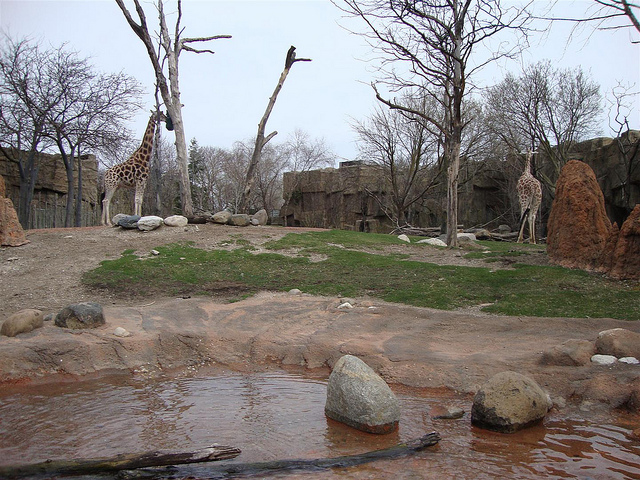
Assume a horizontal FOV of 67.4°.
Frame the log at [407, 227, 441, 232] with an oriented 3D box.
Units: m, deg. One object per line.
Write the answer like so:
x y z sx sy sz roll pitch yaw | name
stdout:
5.828 -0.569 26.894 1.590 0.195 0.511 2 1 21 | log
